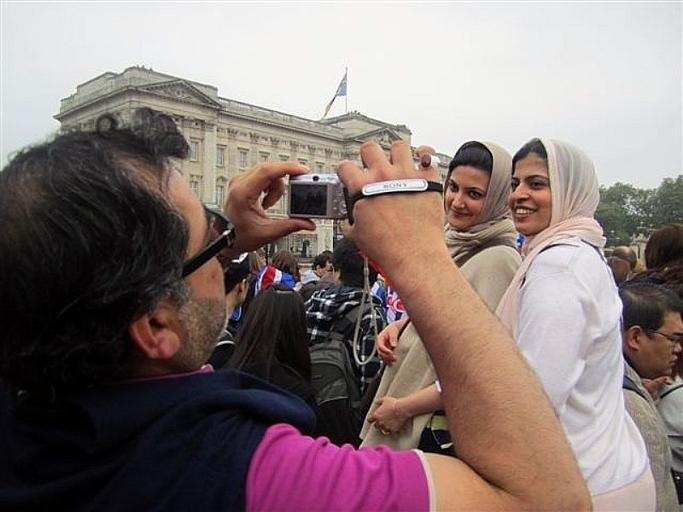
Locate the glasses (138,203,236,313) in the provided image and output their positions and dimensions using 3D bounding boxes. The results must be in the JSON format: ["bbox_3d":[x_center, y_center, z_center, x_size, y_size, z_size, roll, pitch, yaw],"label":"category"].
[{"bbox_3d":[-0.439,0.004,1.702,0.224,0.063,0.227,-39,30,1],"label":"glasses"}]

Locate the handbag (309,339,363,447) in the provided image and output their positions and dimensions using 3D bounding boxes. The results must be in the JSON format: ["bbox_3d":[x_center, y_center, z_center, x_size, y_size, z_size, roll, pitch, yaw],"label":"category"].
[{"bbox_3d":[0.049,0.818,3.796,0.404,0.815,0.574,-2,3,5],"label":"handbag"}]
